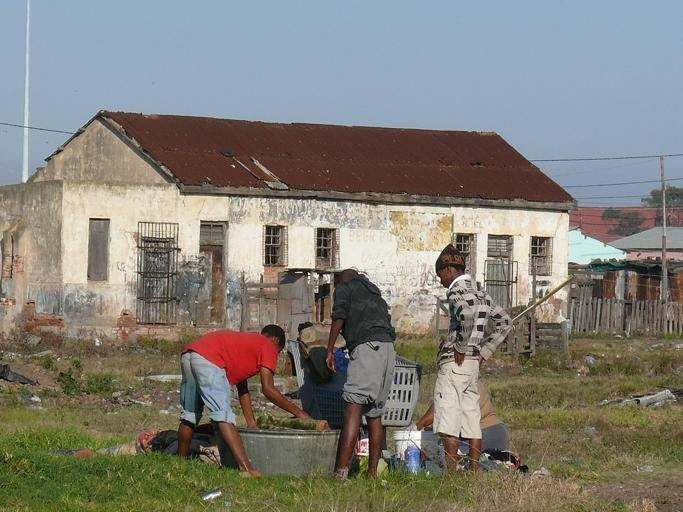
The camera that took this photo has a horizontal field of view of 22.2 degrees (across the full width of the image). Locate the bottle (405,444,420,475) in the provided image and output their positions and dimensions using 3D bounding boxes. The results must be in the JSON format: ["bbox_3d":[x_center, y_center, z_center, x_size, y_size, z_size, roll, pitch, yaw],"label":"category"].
[{"bbox_3d":[1.383,4.086,35.185,0.322,0.559,0.252,1,-5,1],"label":"bottle"}]

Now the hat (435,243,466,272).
[{"bbox_3d":[2.136,0.054,35.674,0.565,0.536,0.437,-5,-7,32],"label":"hat"}]

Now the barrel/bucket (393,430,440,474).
[{"bbox_3d":[1.479,4.008,35.594,0.713,0.873,0.795,0,-5,0],"label":"barrel/bucket"}]
